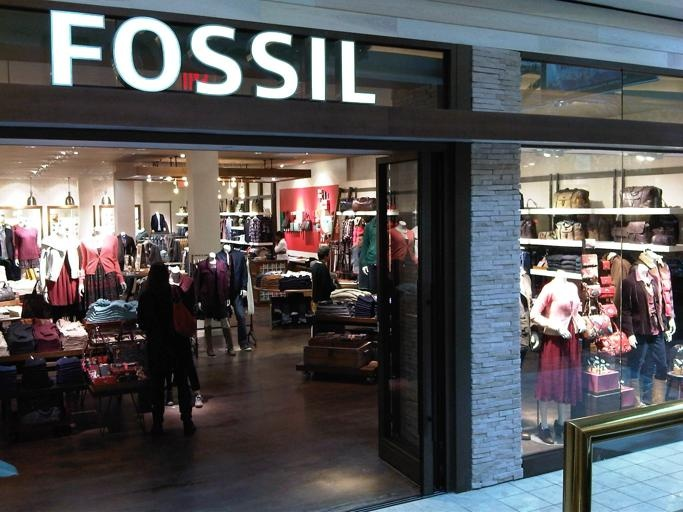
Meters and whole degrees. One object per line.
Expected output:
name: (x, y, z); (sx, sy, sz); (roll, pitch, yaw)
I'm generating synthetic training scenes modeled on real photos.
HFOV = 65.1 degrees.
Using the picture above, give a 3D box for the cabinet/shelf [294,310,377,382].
cabinet/shelf: (0.021, 1.361, 8.028); (0.837, 0.670, 1.176); (-1, -4, 21)

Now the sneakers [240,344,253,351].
sneakers: (-1.711, 1.693, 9.701); (0.201, 0.087, 0.087); (0, -1, 15)

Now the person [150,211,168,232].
person: (-6.163, -1.073, 18.129); (0.475, 0.648, 1.206); (-2, 5, -21)

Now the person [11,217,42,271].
person: (-7.736, -0.218, 13.141); (0.549, 1.172, 1.022); (-4, 6, -31)

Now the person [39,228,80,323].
person: (-4.284, 0.326, 8.161); (0.567, 1.393, 0.413); (-3, 6, -28)

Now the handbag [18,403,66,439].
handbag: (-3.414, 1.905, 6.114); (0.363, 0.087, 0.348); (-4, 17, -12)

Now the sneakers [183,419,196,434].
sneakers: (-1.719, 1.960, 6.095); (0.081, 0.162, 0.227); (1, 3, 11)

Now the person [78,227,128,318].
person: (-3.806, 0.266, 8.531); (0.663, 1.183, 0.352); (-3, 6, -26)

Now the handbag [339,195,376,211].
handbag: (0.423, -1.202, 12.724); (0.469, 0.194, 0.641); (-1, 1, -39)

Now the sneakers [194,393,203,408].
sneakers: (-1.852, 1.912, 6.936); (0.093, 0.050, 0.146); (3, 46, -16)

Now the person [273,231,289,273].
person: (-1.595, -0.094, 14.266); (0.318, 1.032, 0.676); (-1, 5, -7)

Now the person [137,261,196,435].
person: (-1.921, 1.051, 5.799); (0.457, 1.972, 0.424); (-1, 5, -8)
